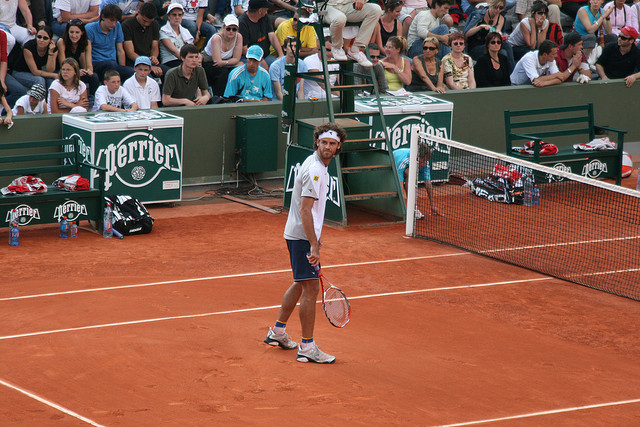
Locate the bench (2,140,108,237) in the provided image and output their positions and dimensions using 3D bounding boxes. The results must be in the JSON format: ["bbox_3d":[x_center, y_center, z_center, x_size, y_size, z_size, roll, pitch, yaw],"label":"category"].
[{"bbox_3d":[-5.256,-0.469,13.613,1.908,1.247,0.736,-3,8,-30],"label":"bench"}]

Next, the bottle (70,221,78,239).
[{"bbox_3d":[-4.856,0.312,13.456,0.137,0.323,0.273,-3,10,-20],"label":"bottle"}]

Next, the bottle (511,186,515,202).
[{"bbox_3d":[4.297,-0.439,15.226,0.081,0.420,0.596,3,9,16],"label":"bottle"}]

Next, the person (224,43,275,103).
[{"bbox_3d":[-1.848,-3.549,17.354,1.600,1.706,1.053,-2,17,-20],"label":"person"}]

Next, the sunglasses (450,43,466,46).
[{"bbox_3d":[3.705,-4.574,18.341,0.341,0.076,0.136,-1,9,-7],"label":"sunglasses"}]

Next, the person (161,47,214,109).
[{"bbox_3d":[-3.307,-3.314,16.732,1.200,1.604,1.161,-19,37,-36],"label":"person"}]

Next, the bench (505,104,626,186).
[{"bbox_3d":[6.207,-1.665,17.343,3.060,2.056,1.237,-11,20,-28],"label":"bench"}]

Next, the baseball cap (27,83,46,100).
[{"bbox_3d":[-6.245,-2.696,15.019,0.355,0.330,0.222,-1,9,-10],"label":"baseball cap"}]

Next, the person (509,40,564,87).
[{"bbox_3d":[6.107,-4.200,19.215,0.936,1.323,0.682,22,51,13],"label":"person"}]

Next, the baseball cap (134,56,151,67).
[{"bbox_3d":[-4.122,-3.577,15.860,0.310,0.196,0.416,-1,9,-11],"label":"baseball cap"}]

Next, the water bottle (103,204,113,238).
[{"bbox_3d":[-4.196,0.143,13.541,0.181,0.638,0.233,2,9,11],"label":"water bottle"}]

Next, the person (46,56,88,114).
[{"bbox_3d":[-5.708,-2.881,15.299,0.896,1.192,0.780,-2,9,-15],"label":"person"}]

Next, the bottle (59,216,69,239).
[{"bbox_3d":[-5.009,0.299,13.364,0.188,0.364,0.169,-3,10,-21],"label":"bottle"}]

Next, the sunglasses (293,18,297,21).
[{"bbox_3d":[-0.665,-5.176,18.115,0.117,0.110,0.108,-1,12,-19],"label":"sunglasses"}]

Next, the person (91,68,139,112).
[{"bbox_3d":[-4.694,-2.806,15.747,0.851,0.917,1.145,-14,30,-37],"label":"person"}]
